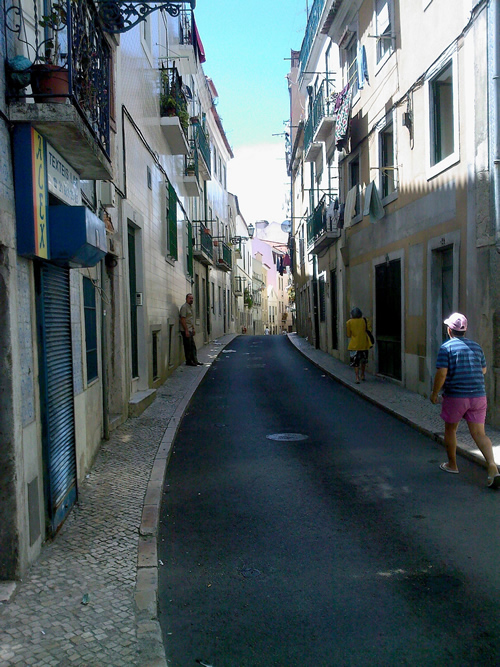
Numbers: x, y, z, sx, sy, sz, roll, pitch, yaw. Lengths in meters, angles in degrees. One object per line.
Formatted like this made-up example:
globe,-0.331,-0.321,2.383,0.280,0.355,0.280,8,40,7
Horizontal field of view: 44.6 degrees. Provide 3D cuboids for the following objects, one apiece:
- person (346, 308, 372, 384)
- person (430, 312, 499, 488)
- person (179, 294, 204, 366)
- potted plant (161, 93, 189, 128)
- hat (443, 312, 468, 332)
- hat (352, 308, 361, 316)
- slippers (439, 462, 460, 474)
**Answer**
person,2.522,0.222,13.797,0.558,1.616,1.980,0,2,10
person,2.122,0.601,5.980,0.629,1.593,0.544,0,2,27
person,-1.849,-0.171,18.534,0.587,2.061,3.819,-1,2,-6
potted plant,-1.911,-5.653,15.080,0.586,0.410,0.994,-2,2,-12
hat,2.449,-0.151,7.166,0.148,0.199,0.288,2,20,-1
hat,2.260,-0.469,12.889,0.119,0.119,0.162,-3,5,-31
slippers,2.058,1.357,6.259,0.070,0.100,0.170,-7,20,-36
